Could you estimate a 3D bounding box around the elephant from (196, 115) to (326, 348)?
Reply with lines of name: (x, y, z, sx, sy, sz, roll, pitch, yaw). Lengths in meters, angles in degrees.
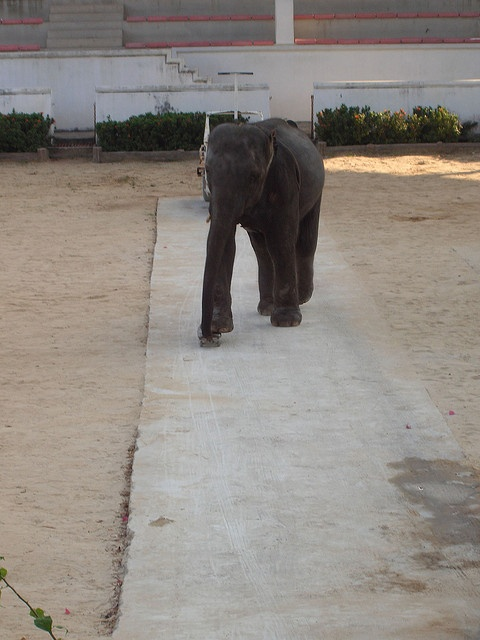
elephant: (0.153, -0.703, 9.510, 0.621, 1.602, 1.793, 3, 13, 15)
